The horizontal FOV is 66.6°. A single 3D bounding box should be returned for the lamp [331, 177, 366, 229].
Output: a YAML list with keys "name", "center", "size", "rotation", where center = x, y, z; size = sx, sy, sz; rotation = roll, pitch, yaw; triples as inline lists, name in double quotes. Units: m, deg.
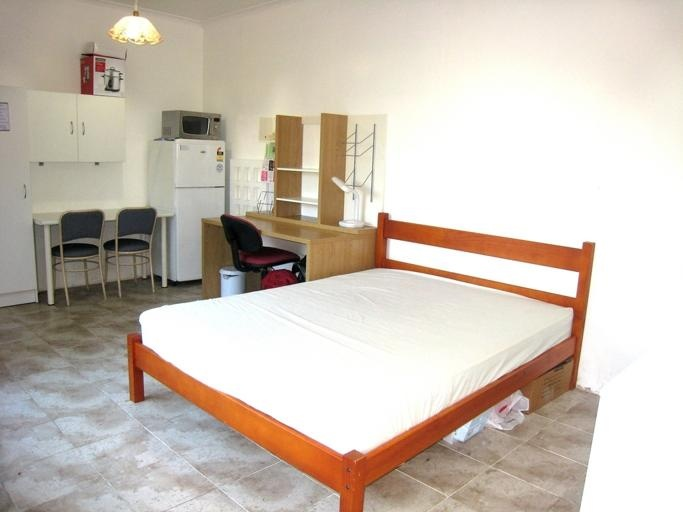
- name: "lamp"
  center: [0.059, -0.472, 4.635]
  size: [0.324, 0.445, 0.266]
  rotation: [2, 2, 7]

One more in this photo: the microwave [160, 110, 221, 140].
- name: "microwave"
  center: [-1.646, -1.433, 5.683]
  size: [0.626, 0.308, 0.430]
  rotation: [-4, 10, -17]

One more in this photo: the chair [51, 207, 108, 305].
- name: "chair"
  center: [-2.616, -0.030, 5.178]
  size: [0.485, 0.883, 0.784]
  rotation: [-7, 12, -29]

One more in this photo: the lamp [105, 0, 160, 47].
- name: "lamp"
  center: [-1.381, -1.561, 3.499]
  size: [0.309, 0.220, 0.185]
  rotation: [0, 10, 6]

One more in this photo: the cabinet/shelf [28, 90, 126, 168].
- name: "cabinet/shelf"
  center: [-2.564, -1.248, 5.196]
  size: [1.025, 0.630, 0.343]
  rotation: [1, 5, 3]

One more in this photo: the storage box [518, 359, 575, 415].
- name: "storage box"
  center: [1.346, 0.839, 3.385]
  size: [0.513, 0.248, 0.262]
  rotation: [-16, 16, -35]

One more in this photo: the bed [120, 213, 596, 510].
- name: "bed"
  center: [-0.328, 0.325, 3.851]
  size: [3.280, 1.145, 2.399]
  rotation: [8, 13, 44]

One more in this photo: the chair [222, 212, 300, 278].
- name: "chair"
  center: [-0.725, 0.001, 4.762]
  size: [0.547, 0.735, 0.674]
  rotation: [13, 16, 43]

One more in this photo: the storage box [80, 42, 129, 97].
- name: "storage box"
  center: [-2.533, -1.922, 5.271]
  size: [0.316, 0.577, 0.468]
  rotation: [5, 18, 0]
